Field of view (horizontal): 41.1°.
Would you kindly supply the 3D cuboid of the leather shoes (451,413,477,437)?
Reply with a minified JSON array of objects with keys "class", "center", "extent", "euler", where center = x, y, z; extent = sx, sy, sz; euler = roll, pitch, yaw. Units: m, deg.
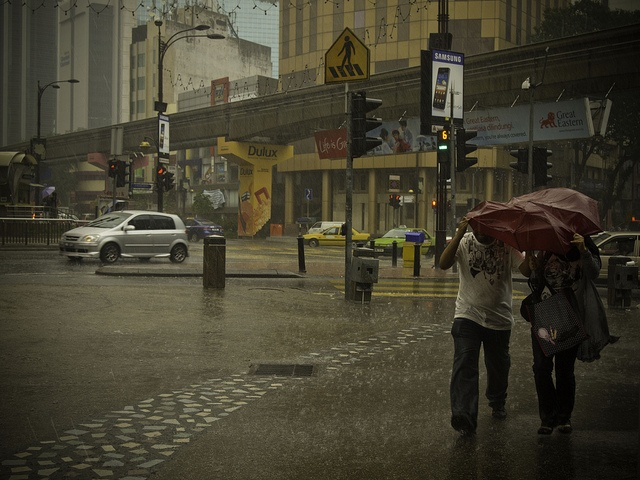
[{"class":"leather shoes","center":[1.591,2.055,9.489],"extent":[0.271,0.267,0.247],"euler":[1,3,9]}]

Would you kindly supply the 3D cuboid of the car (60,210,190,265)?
[{"class":"car","center":[-6.086,-0.082,27.007],"extent":[3.770,1.653,1.284],"euler":[-2,4,-40]}]

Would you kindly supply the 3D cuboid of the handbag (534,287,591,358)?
[{"class":"handbag","center":[2.799,0.899,9.878],"extent":[0.614,0.776,0.515],"euler":[4,3,30]}]

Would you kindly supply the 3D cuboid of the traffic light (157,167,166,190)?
[{"class":"traffic light","center":[-7.360,-2.967,39.593],"extent":[0.373,1.104,0.542],"euler":[0,3,-11]}]

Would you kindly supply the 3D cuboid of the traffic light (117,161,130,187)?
[{"class":"traffic light","center":[-9.485,-3.204,40.980],"extent":[0.577,1.303,2.335],"euler":[0,3,-13]}]

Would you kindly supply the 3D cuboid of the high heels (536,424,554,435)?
[{"class":"high heels","center":[2.537,2.133,9.637],"extent":[0.191,0.103,0.162],"euler":[1,3,4]}]

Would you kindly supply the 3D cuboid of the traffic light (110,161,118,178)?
[{"class":"traffic light","center":[-9.839,-3.409,40.658],"extent":[0.369,0.846,0.839],"euler":[0,3,-17]}]

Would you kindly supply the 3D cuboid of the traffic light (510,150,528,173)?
[{"class":"traffic light","center":[6.002,-2.424,25.834],"extent":[0.538,0.705,1.209],"euler":[2,3,13]}]

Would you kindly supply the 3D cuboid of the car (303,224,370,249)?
[{"class":"car","center":[0.880,-0.083,46.104],"extent":[2.901,1.304,2.822],"euler":[-3,6,-41]}]

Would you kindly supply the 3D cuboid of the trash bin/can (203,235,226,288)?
[{"class":"trash bin/can","center":[-2.476,0.529,19.908],"extent":[0.499,1.161,0.608],"euler":[0,3,-11]}]

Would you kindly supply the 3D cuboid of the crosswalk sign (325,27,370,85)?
[{"class":"crosswalk sign","center":[0.579,-3.943,18.185],"extent":[1.038,1.144,0.365],"euler":[2,3,27]}]
